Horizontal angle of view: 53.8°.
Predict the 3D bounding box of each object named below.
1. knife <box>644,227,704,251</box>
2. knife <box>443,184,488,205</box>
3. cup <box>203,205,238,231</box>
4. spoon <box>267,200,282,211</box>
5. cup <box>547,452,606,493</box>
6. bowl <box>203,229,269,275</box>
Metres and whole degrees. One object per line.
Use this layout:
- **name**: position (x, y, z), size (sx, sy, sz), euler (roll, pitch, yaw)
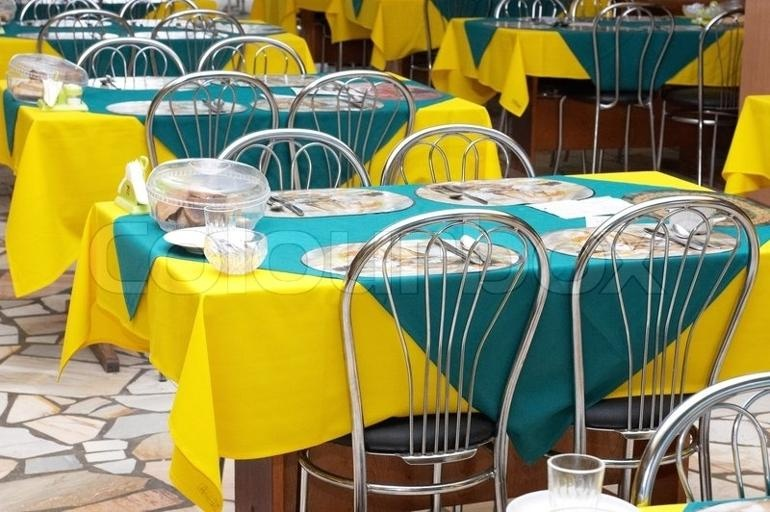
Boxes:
- **knife**: position (0.890, -0.038, 2.310), size (0.085, 0.067, 0.283), euler (15, 0, -4)
- **knife**: position (0.288, -0.233, 2.718), size (0.058, 0.031, 0.228), euler (-9, 19, -21)
- **cup**: position (-0.483, -0.116, 2.207), size (0.080, 0.060, 0.085), euler (2, 13, 0)
- **spoon**: position (-0.369, -0.170, 2.566), size (0.048, 0.027, 0.078), euler (0, 11, -8)
- **cup**: position (0.383, 0.439, 1.525), size (0.087, 0.063, 0.088), euler (2, 10, 0)
- **bowl**: position (-0.413, -0.015, 2.118), size (0.174, 0.113, 0.153), euler (-1, 11, -11)
